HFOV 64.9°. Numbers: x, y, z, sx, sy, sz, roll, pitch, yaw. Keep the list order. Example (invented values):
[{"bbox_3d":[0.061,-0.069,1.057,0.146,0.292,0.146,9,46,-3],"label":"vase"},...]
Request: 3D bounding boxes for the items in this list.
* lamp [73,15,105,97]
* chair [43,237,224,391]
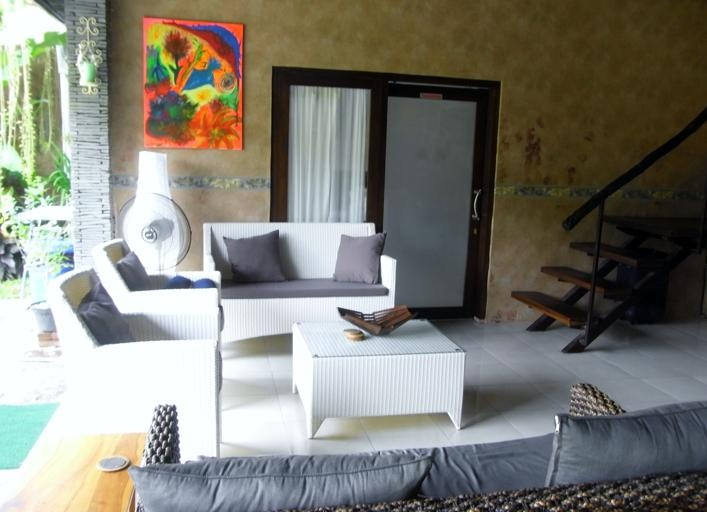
[{"bbox_3d":[-2.221,-1.678,4.690,0.240,0.626,0.175,5,14,1],"label":"lamp"},{"bbox_3d":[-1.202,0.392,3.463,0.975,1.004,0.728,-2,18,-15],"label":"chair"}]
